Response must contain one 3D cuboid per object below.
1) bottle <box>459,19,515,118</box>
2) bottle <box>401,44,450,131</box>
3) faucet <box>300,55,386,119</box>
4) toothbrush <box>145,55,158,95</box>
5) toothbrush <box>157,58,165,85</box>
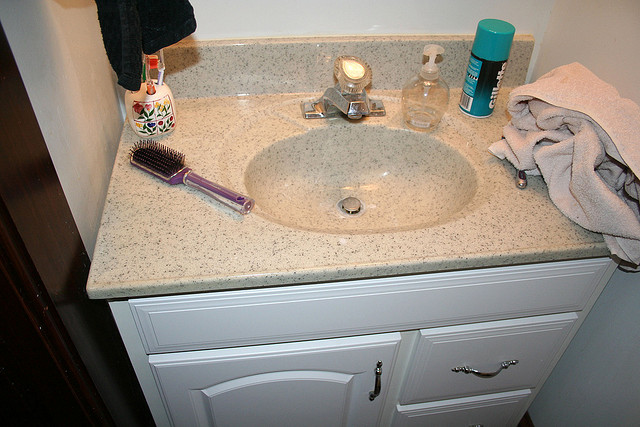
[{"bbox_3d":[0.434,-0.378,1.245,0.104,0.230,0.109,1,42,-1],"label":"bottle"},{"bbox_3d":[0.270,-0.321,1.198,0.119,0.189,0.110,0,44,0],"label":"bottle"},{"bbox_3d":[0.055,-0.312,1.193,0.243,0.151,0.172,-3,43,-6],"label":"faucet"},{"bbox_3d":[-0.398,-0.331,1.121,0.038,0.113,0.024,-6,61,-21],"label":"toothbrush"},{"bbox_3d":[-0.384,-0.346,1.143,0.025,0.086,0.015,2,60,-18],"label":"toothbrush"}]
